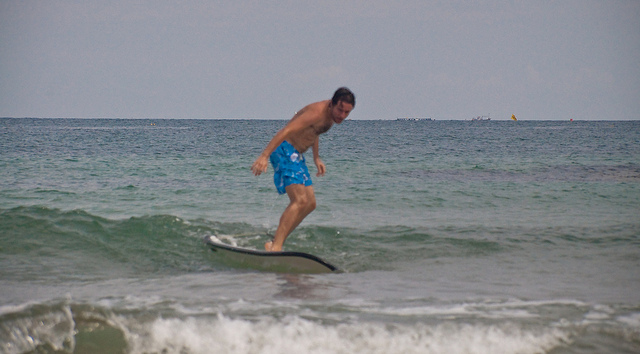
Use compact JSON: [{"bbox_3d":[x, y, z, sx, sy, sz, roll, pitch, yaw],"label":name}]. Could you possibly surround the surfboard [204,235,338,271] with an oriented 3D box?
[{"bbox_3d":[-1.303,1.992,15.688,3.206,0.528,0.508,3,49,12],"label":"surfboard"}]
